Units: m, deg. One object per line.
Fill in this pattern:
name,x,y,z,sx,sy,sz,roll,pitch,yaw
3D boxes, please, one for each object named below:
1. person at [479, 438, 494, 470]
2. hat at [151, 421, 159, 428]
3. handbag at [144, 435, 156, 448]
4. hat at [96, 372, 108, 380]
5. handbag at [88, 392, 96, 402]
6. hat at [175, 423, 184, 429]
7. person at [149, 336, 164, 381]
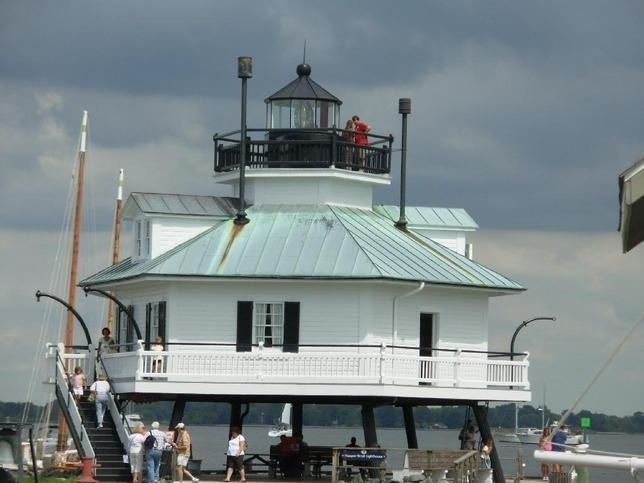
person,6.568,8.446,71.328,0.592,1.182,1.486,-6,10,5
hat,-6.437,6.884,67.253,0.348,0.203,0.451,1,9,-8
handbag,-6.626,7.473,66.904,0.206,0.477,0.396,5,-13,8
hat,-8.875,5.281,70.471,0.312,0.176,0.323,-4,-8,32
handbag,-9.334,6.127,70.957,0.381,0.352,0.618,3,5,5
hat,-5.586,7.016,68.410,0.240,0.131,0.312,-1,-3,-31
person,-6.591,4.371,69.326,0.598,1.241,1.710,-8,10,-5
